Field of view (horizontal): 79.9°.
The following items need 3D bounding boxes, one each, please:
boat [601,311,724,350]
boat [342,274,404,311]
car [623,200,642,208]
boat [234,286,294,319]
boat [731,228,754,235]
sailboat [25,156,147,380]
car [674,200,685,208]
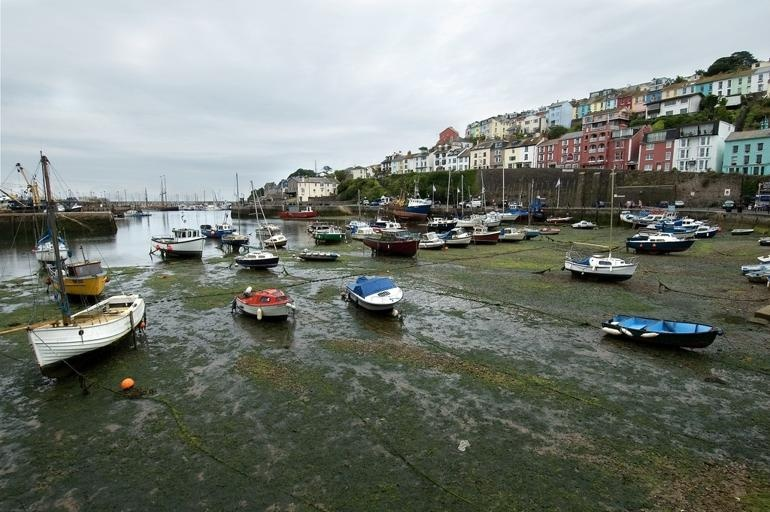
[{"bbox_3d":[11.878,3.331,20.101,2.008,0.849,3.600,-8,6,-44],"label":"boat"},{"bbox_3d":[-0.588,2.078,24.659,1.878,1.650,3.707,-8,9,-26],"label":"boat"},{"bbox_3d":[35.483,-7.361,65.862,1.426,0.804,2.046,0,0,-38],"label":"car"},{"bbox_3d":[-6.293,2.482,23.470,3.115,1.490,1.332,0,10,21],"label":"boat"},{"bbox_3d":[35.432,-2.316,45.325,2.191,0.579,1.537,-1,8,15],"label":"boat"},{"bbox_3d":[-12.844,0.201,19.205,2.683,8.615,4.339,-4,10,3],"label":"sailboat"},{"bbox_3d":[37.971,-6.613,59.437,1.137,0.690,1.674,0,0,19],"label":"car"}]
